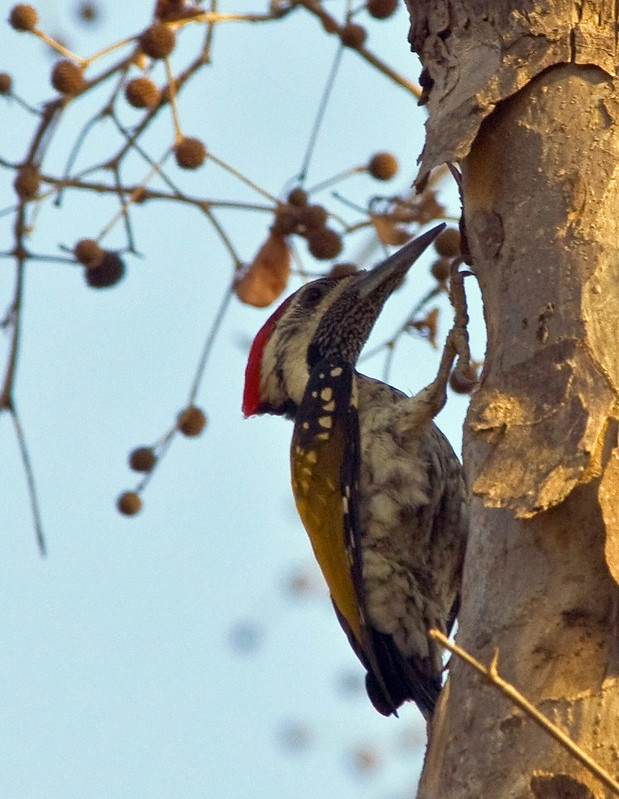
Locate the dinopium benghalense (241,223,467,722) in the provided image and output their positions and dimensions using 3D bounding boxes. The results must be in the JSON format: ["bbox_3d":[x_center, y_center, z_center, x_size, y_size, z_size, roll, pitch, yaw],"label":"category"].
[{"bbox_3d":[0.186,0.175,6.764,0.407,0.990,0.825,-22,-49,11],"label":"dinopium benghalense"}]
